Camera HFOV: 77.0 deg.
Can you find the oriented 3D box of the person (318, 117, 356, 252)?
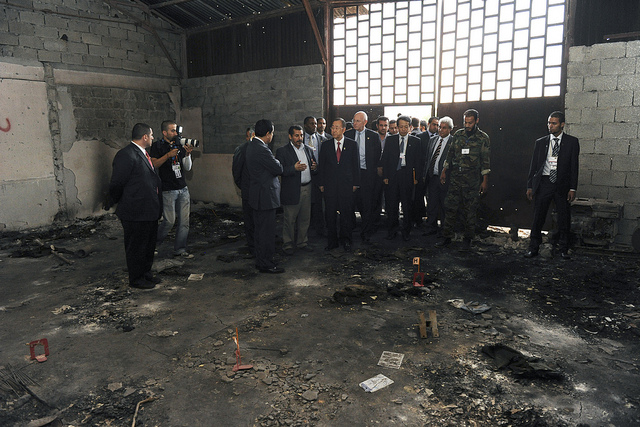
[{"bbox_3d":[0.325,-0.554,8.060,0.756,2.573,0.598,1,14,4],"label":"person"}]

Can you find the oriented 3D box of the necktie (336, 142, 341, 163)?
[{"bbox_3d":[0.360,-1.202,7.986,0.054,0.391,0.041,1,0,4],"label":"necktie"}]

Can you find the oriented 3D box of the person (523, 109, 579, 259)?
[{"bbox_3d":[4.342,-0.526,7.613,0.733,2.647,0.622,3,14,13],"label":"person"}]

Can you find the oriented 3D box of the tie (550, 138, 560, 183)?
[{"bbox_3d":[4.345,-0.985,7.518,0.110,0.764,0.248,6,15,25],"label":"tie"}]

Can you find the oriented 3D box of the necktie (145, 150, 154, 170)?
[{"bbox_3d":[-2.783,-0.884,6.626,0.052,0.387,0.044,-23,-2,-33],"label":"necktie"}]

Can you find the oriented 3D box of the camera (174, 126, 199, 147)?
[{"bbox_3d":[-2.605,-1.461,7.658,0.702,0.443,0.298,5,11,23],"label":"camera"}]

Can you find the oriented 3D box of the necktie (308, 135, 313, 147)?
[{"bbox_3d":[-0.207,-1.545,8.531,0.094,0.213,0.142,-1,14,-2],"label":"necktie"}]

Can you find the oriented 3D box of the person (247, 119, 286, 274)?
[{"bbox_3d":[-0.939,-0.280,7.025,0.559,2.611,0.608,-4,14,-14],"label":"person"}]

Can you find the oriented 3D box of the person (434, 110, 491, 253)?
[{"bbox_3d":[2.928,-0.716,8.307,0.926,2.686,0.894,4,14,16],"label":"person"}]

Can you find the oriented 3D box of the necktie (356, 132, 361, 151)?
[{"bbox_3d":[0.831,-1.588,8.810,0.101,0.346,0.061,-10,17,-36],"label":"necktie"}]
